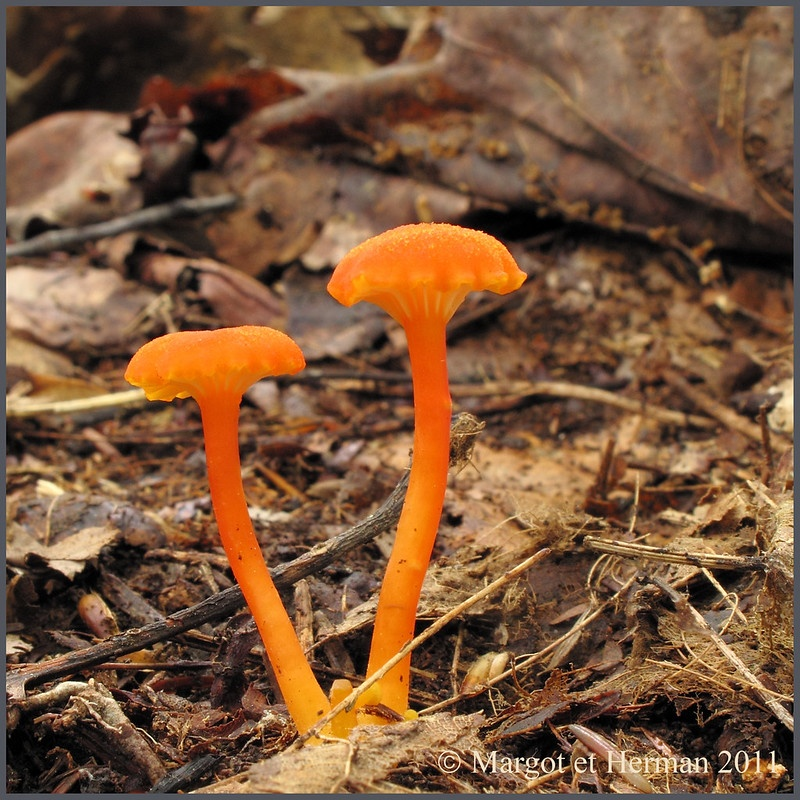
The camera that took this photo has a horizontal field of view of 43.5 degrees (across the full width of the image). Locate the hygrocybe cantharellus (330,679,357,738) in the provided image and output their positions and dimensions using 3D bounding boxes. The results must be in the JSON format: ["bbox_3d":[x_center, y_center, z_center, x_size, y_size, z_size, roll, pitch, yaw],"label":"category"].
[{"bbox_3d":[-0.186,0.971,3.156,0.110,0.156,0.050,6,-2,41],"label":"hygrocybe cantharellus"}]
